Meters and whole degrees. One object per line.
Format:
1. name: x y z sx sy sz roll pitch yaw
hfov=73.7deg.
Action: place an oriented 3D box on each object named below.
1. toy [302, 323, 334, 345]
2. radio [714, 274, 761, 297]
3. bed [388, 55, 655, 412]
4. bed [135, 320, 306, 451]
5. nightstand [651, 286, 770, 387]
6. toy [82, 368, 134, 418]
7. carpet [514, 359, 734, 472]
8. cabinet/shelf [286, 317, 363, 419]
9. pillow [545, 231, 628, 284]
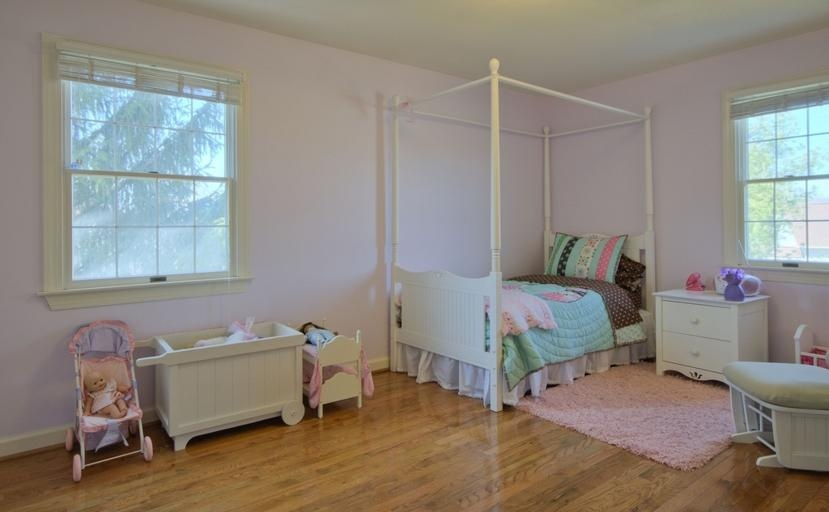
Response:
1. toy: -0.851 0.684 4.848 0.174 0.079 0.261 -3 5 -19
2. radio: 3.087 0.277 5.209 0.325 0.170 0.247 4 -5 -40
3. bed: 1.119 -0.346 5.670 2.578 3.233 1.399 -4 3 -36
4. bed: -1.607 0.997 4.610 1.222 0.704 0.794 -3 5 -29
5. nightstand: 2.847 0.776 5.324 0.685 0.815 0.844 -7 6 -41
6. toy: -2.329 1.050 4.190 0.329 0.323 0.206 -3 3 -25
7. carpet: 1.883 1.331 4.805 1.540 0.357 1.450 -1 2 37
8. cabinet/shelf: -0.901 1.008 4.985 0.429 0.608 0.815 0 -3 -25
9. pillow: 1.863 0.009 6.027 0.211 0.524 0.756 28 -12 -28
